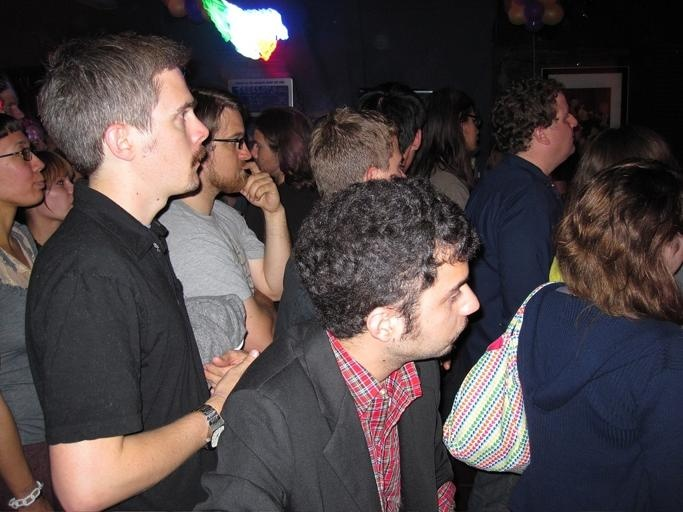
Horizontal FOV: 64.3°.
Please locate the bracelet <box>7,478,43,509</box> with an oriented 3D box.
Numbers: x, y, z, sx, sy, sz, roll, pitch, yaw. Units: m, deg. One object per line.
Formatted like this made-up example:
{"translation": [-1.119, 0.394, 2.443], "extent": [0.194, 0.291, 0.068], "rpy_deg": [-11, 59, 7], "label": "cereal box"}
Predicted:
{"translation": [-1.300, 0.987, 2.251], "extent": [0.137, 0.035, 0.111], "rpy_deg": [-30, 20, -27], "label": "bracelet"}
